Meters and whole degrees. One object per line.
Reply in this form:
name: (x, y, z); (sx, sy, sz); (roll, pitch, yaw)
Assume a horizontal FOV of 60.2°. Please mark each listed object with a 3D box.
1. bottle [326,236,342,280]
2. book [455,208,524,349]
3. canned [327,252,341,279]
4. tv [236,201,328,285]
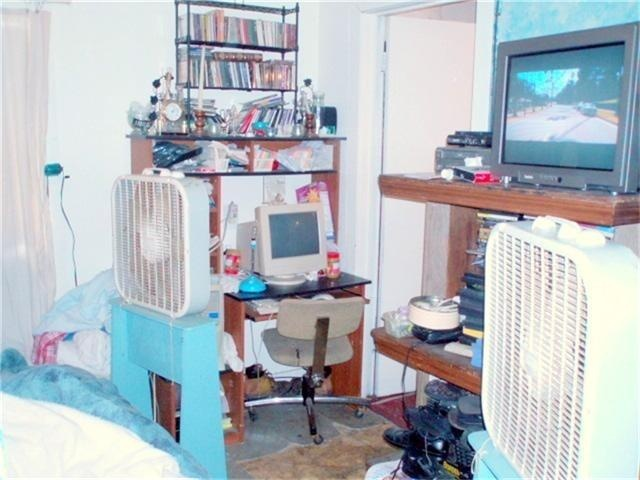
bottle: (0.087, 0.184, 3.934); (0.122, 0.169, 0.123); (2, 5, 0)
book: (0.755, 0.178, 2.471); (0.232, 0.594, 0.550); (2, 11, 6)
canned: (0.093, 0.173, 3.902); (0.089, 0.172, 0.126); (2, 11, 9)
tv: (-0.289, -0.037, 3.950); (0.462, 0.529, 0.548); (-6, 15, -28)
